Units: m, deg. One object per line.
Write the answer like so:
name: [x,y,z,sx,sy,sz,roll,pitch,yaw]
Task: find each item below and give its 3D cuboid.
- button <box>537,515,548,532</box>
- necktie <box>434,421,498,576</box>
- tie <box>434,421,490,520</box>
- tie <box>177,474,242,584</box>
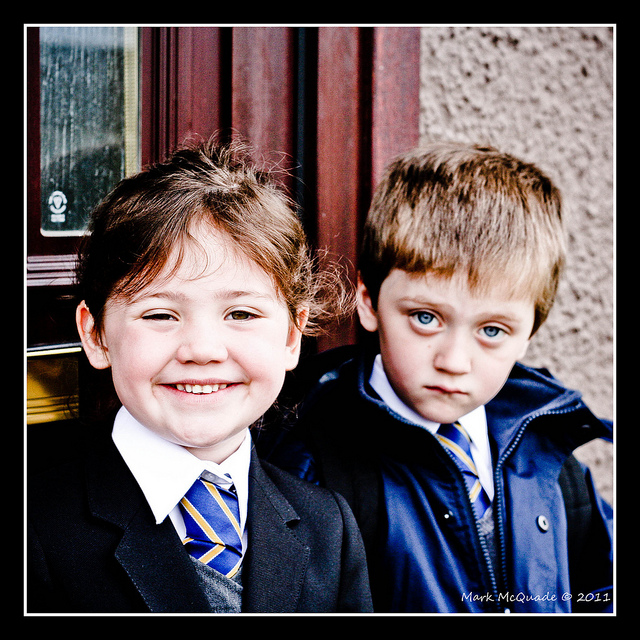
button: [0.713,0.647,2.511,0.042,0.050,0.015,-2,8,-23]
necktie: [0.484,0.565,2.474,0.084,0.427,0.268,-11,-1,42]
tie: [0.458,0.479,2.537,0.069,0.298,0.179,-19,-7,40]
tie: [-0.328,0.604,2.315,0.186,0.304,0.078,-11,-5,-25]
